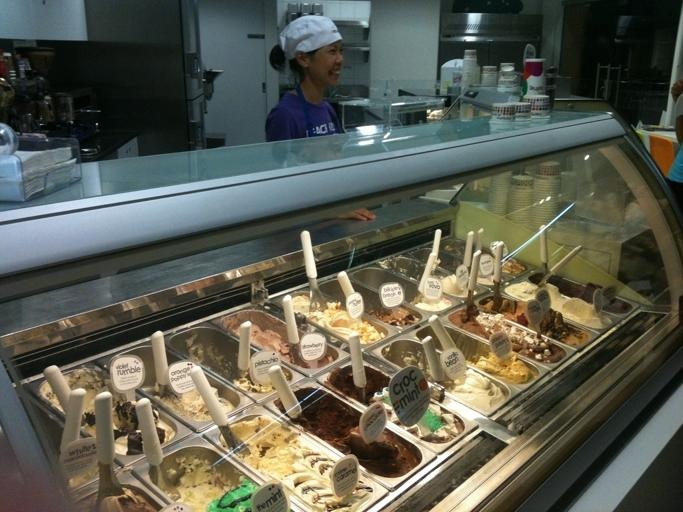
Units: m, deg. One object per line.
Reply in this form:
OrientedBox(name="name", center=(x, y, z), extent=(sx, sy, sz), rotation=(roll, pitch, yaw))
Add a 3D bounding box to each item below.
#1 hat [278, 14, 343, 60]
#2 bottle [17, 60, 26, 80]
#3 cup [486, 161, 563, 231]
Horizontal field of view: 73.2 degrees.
OrientedBox(name="hat", center=(-0.185, -1.161, 2.497), extent=(0.328, 0.153, 0.224), rotation=(-5, 24, 24))
OrientedBox(name="bottle", center=(-2.409, -1.406, 3.449), extent=(0.051, 0.132, 0.201), rotation=(-13, 27, -23))
OrientedBox(name="cup", center=(0.653, -0.224, 1.642), extent=(0.285, 0.272, 0.257), rotation=(6, 23, 24))
